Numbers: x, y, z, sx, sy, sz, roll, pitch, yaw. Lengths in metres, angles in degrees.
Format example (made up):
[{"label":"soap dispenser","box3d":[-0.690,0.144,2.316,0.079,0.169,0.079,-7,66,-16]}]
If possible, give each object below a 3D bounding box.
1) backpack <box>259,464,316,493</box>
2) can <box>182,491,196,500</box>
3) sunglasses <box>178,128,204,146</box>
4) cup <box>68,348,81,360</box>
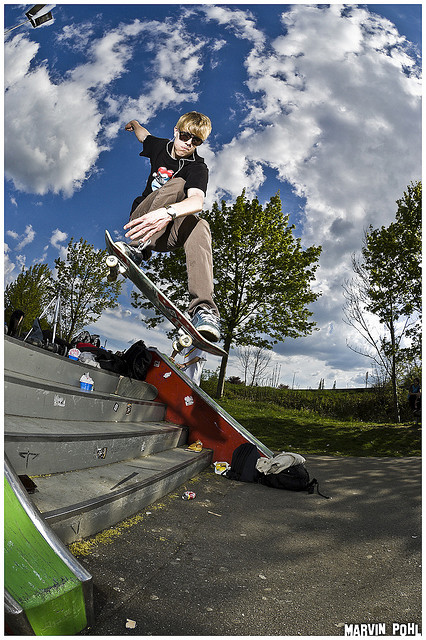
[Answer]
[{"label":"backpack","box3d":[0.724,1.688,3.754,0.337,0.121,0.279,2,-8,19]},{"label":"can","box3d":[-0.187,1.407,2.863,0.074,0.032,0.092,26,-20,-37]},{"label":"sunglasses","box3d":[-0.200,-1.785,3.574,0.226,0.123,0.088,10,-10,-23]},{"label":"cup","box3d":[-1.356,0.413,3.949,0.089,0.120,0.070,23,-15,-20]}]
